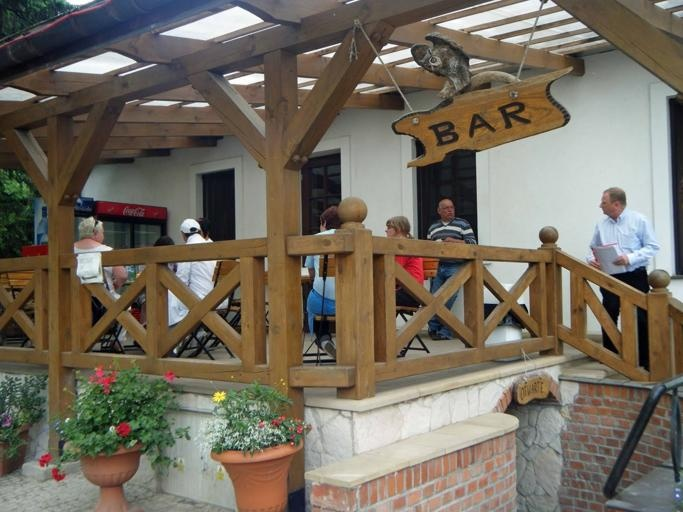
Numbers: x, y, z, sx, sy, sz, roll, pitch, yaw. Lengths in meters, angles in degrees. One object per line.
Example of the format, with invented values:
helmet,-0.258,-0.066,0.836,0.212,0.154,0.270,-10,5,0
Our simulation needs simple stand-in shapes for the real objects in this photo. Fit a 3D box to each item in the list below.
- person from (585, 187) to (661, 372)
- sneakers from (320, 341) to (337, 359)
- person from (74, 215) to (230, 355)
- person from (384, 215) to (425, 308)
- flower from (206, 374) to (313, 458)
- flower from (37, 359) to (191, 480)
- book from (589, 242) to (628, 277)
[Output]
person,3.106,0.229,7.882,0.727,2.013,0.696,-3,-3,33
sneakers,-0.119,0.856,6.600,0.155,0.194,0.152,6,7,5
person,-1.873,0.144,8.301,2.128,1.492,0.944,-2,-2,30
person,0.656,0.013,7.862,0.510,0.959,0.469,0,6,25
flower,-0.687,1.306,5.673,0.624,0.388,0.605,1,0,-32
flower,-2.010,1.333,6.435,1.092,1.016,1.096,1,2,-32
book,2.948,0.033,7.868,0.325,0.328,0.387,-3,-3,36
